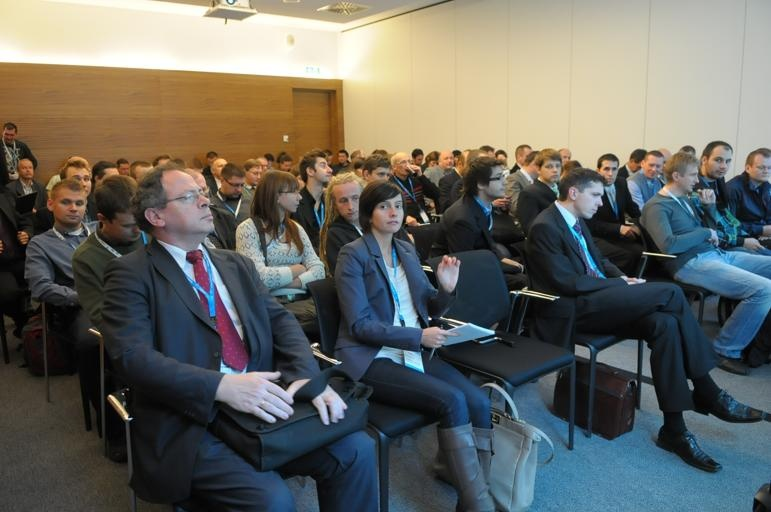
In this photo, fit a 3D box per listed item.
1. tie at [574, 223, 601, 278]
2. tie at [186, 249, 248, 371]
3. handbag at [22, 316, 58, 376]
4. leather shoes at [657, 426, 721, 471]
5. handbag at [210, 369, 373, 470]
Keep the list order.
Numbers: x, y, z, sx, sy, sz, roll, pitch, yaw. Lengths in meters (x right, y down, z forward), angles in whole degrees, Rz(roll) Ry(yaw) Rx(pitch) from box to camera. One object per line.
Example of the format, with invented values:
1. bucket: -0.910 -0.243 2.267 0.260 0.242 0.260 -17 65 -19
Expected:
1. tie: 1.465 -0.033 3.773 0.103 0.369 0.260 -21 -2 39
2. tie: -0.800 0.270 2.505 0.161 0.570 0.286 -12 18 -34
3. handbag: -2.631 0.700 3.972 0.266 0.472 0.479 -2 3 -35
4. leather shoes: 1.853 1.189 3.211 0.354 0.157 0.125 23 45 40
5. handbag: -0.356 0.744 2.300 0.510 0.192 0.515 -17 17 -36
